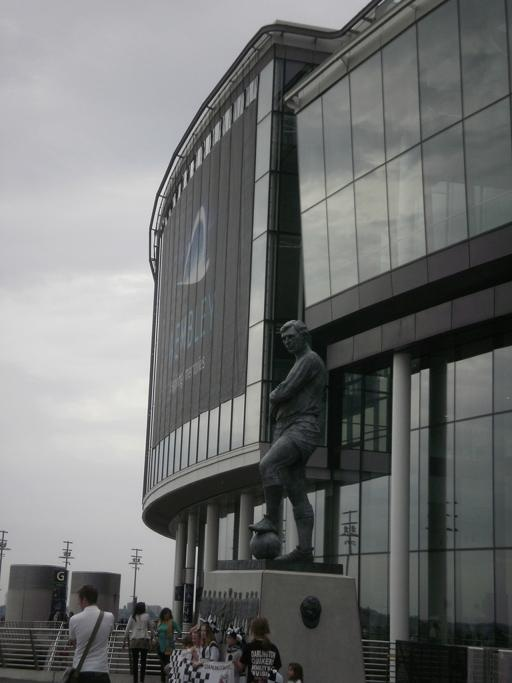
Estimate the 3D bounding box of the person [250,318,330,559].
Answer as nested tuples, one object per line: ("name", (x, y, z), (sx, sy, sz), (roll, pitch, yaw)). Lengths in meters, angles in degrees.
("person", (0.430, 1.127, 11.172), (0.671, 3.111, 0.918), (-12, -22, 35))
